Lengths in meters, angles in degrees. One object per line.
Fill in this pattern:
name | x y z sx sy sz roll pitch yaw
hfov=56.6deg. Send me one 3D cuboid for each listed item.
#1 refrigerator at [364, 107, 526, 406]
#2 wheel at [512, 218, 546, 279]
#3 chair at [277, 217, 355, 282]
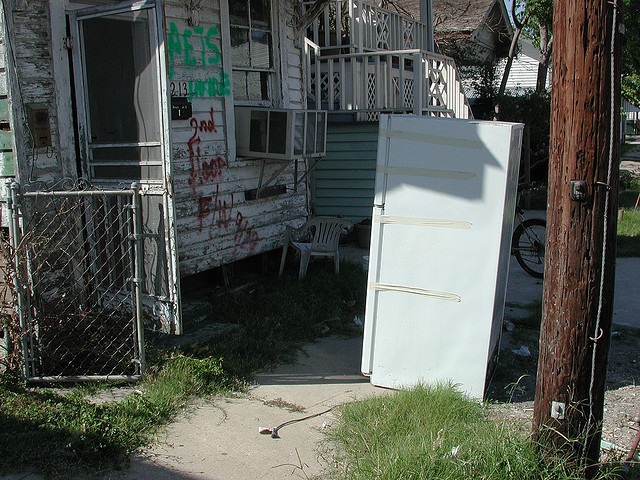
refrigerator | 0.999 0.013 5.839 1.356 2.534 1.350 7 19 15
wheel | 3.203 0.107 8.843 0.706 0.845 0.266 0 -11 10
chair | -0.078 0.112 8.474 0.895 1.130 0.823 -3 19 -41
